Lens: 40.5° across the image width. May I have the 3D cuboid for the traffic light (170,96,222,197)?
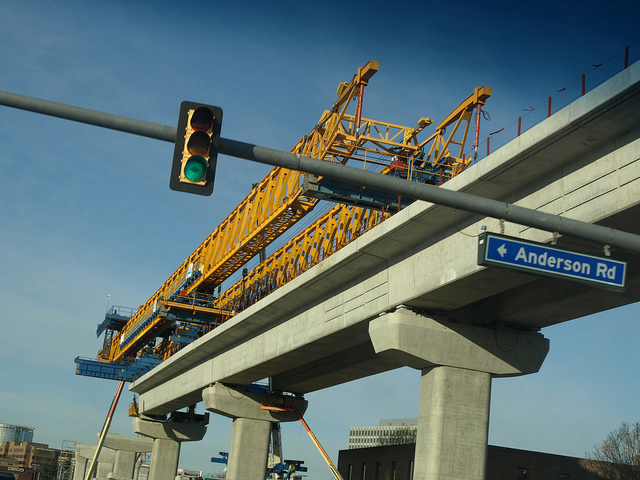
[{"bbox_3d":[-2.986,-2.221,20.843,1.091,2.068,0.902,11,-28,-8],"label":"traffic light"}]
